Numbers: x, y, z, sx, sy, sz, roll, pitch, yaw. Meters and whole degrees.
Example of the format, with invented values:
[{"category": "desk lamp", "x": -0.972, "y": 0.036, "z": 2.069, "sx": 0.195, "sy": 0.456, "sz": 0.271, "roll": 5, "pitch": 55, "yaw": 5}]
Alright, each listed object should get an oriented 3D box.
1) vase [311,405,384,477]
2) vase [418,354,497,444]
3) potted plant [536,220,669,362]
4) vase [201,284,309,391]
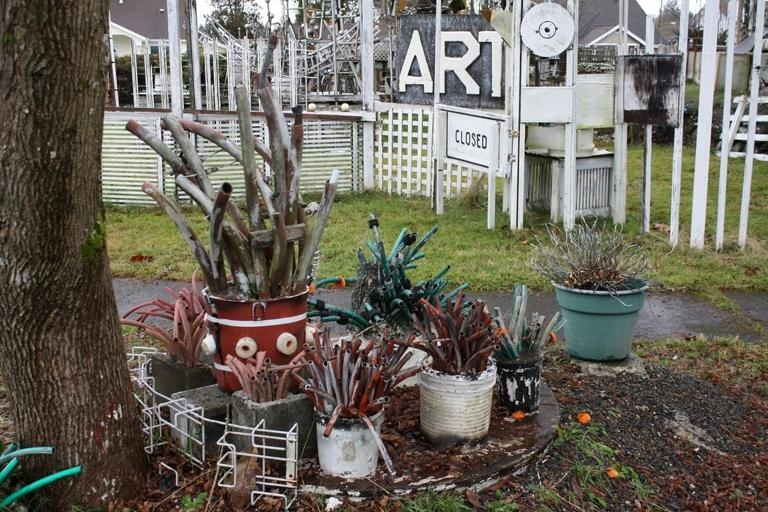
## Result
[{"category": "vase", "x": -0.251, "y": 1.288, "z": 5.123, "sx": 0.422, "sy": 0.413, "sz": 0.476, "roll": 1, "pitch": -2, "yaw": -13}, {"category": "vase", "x": 0.525, "y": 1.000, "z": 5.411, "sx": 0.537, "sy": 0.591, "sz": 0.588, "roll": -7, "pitch": 23, "yaw": -17}, {"category": "potted plant", "x": 1.929, "y": 0.370, "z": 6.436, "sx": 0.760, "sy": 1.103, "sz": 0.744, "roll": 4, "pitch": 10, "yaw": 38}, {"category": "vase", "x": -0.934, "y": 0.486, "z": 5.325, "sx": 0.623, "sy": 0.664, "sz": 0.679, "roll": 3, "pitch": 8, "yaw": 19}]
